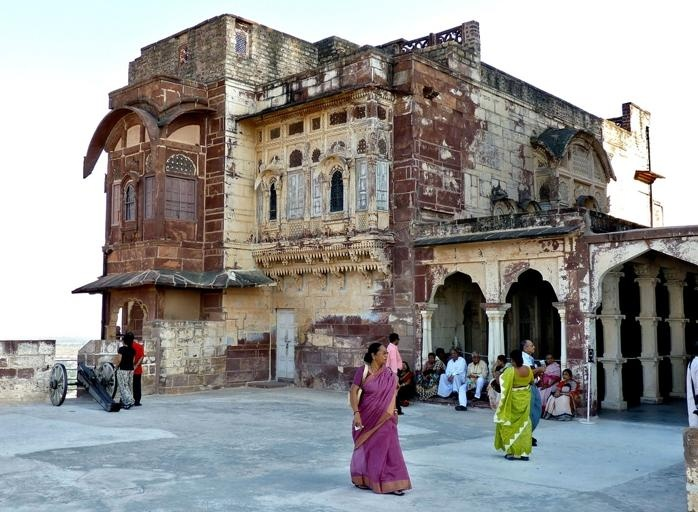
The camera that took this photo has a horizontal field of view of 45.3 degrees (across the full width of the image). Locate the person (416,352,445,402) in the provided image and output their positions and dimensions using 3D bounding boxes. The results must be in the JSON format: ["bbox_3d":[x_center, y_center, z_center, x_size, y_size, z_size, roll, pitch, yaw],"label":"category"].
[{"bbox_3d":[2.256,3.334,22.831,0.674,1.173,0.661,30,-37,-30],"label":"person"}]

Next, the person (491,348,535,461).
[{"bbox_3d":[3.133,2.800,15.857,0.661,1.989,0.495,2,2,10],"label":"person"}]

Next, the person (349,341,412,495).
[{"bbox_3d":[0.517,2.676,13.961,0.974,2.376,0.724,1,2,0],"label":"person"}]

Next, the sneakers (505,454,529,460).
[{"bbox_3d":[3.168,3.785,15.749,0.412,0.181,0.152,-4,-1,14],"label":"sneakers"}]

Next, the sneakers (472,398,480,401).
[{"bbox_3d":[3.350,3.743,21.983,0.200,0.096,0.224,2,2,20],"label":"sneakers"}]

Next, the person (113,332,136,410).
[{"bbox_3d":[-5.519,2.817,20.680,0.442,1.843,0.756,1,2,-15],"label":"person"}]

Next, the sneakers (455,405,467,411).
[{"bbox_3d":[2.881,3.865,21.355,0.307,0.101,0.209,1,2,-1],"label":"sneakers"}]
